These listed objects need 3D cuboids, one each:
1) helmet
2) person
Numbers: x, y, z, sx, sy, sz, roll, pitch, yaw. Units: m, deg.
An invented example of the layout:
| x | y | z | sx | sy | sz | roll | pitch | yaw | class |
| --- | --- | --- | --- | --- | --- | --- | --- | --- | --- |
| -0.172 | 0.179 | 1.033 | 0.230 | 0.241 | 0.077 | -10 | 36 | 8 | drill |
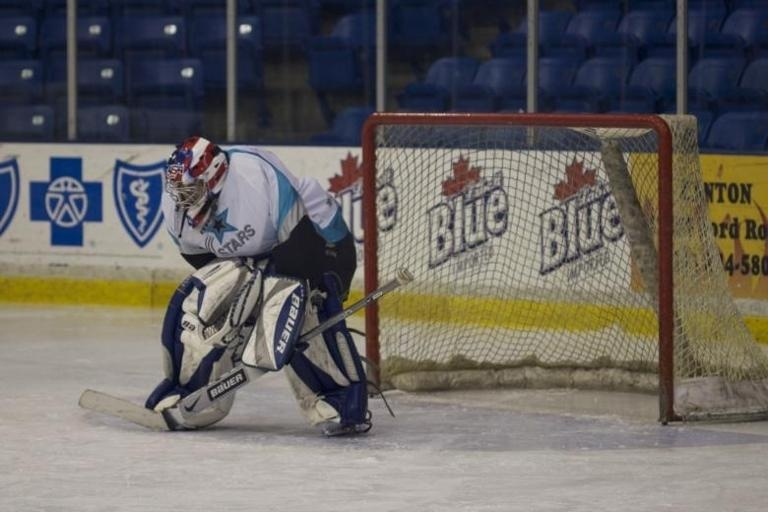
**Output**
| x | y | z | sx | sy | sz | roll | pitch | yaw | class |
| --- | --- | --- | --- | --- | --- | --- | --- | --- | --- |
| -1.192 | -0.467 | 10.808 | 0.379 | 0.563 | 0.153 | 1 | 4 | -6 | helmet |
| -0.794 | 0.173 | 10.875 | 1.375 | 1.840 | 0.496 | 1 | 4 | -8 | person |
